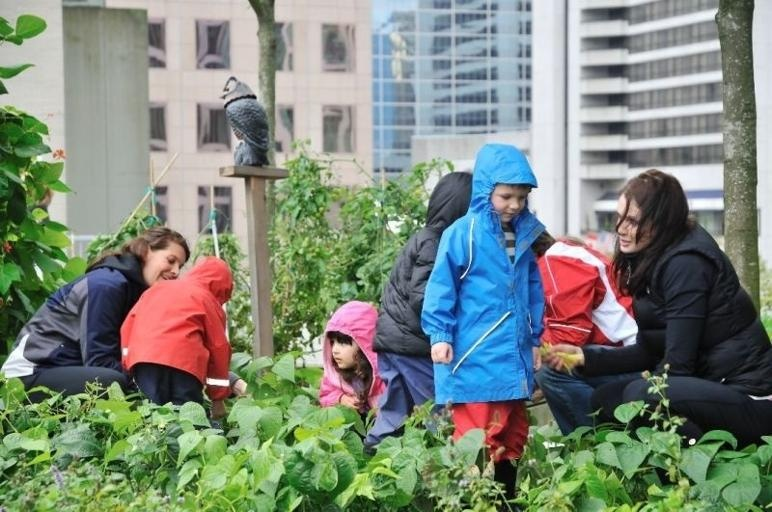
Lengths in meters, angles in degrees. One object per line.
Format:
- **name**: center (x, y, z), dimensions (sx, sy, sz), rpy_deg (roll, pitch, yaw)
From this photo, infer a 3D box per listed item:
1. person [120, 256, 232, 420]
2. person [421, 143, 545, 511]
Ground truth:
- **person**: center (-1.580, 0.655, 9.241), dimensions (0.590, 1.481, 0.458), rpy_deg (9, -24, -3)
- **person**: center (0.766, 0.517, 9.377), dimensions (0.952, 2.784, 0.397), rpy_deg (-1, -2, 4)
